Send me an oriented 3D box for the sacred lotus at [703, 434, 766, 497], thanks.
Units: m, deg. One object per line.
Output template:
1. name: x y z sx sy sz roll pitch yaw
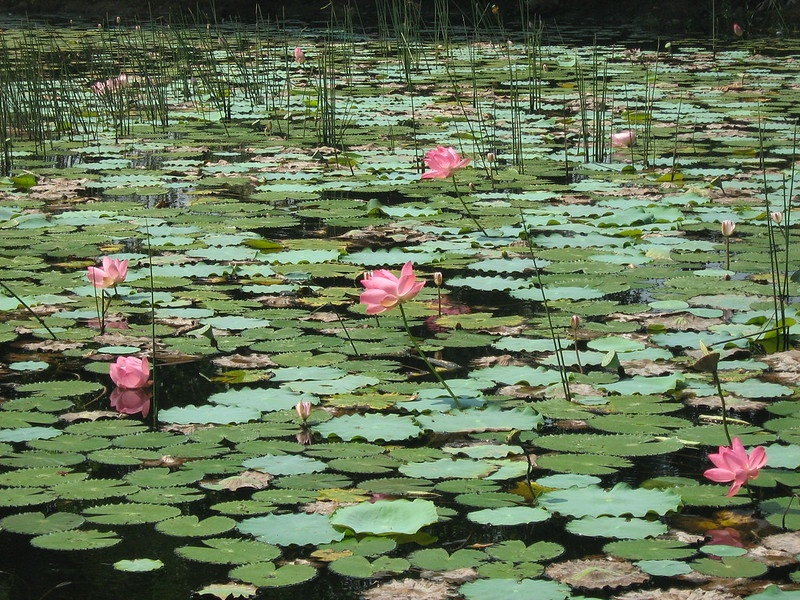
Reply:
1. sacred lotus: 0.900 0.455 2.877 0.158 0.182 0.107 -7 12 -7

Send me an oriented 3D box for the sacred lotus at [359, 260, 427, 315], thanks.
1. sacred lotus: -0.030 -0.039 3.259 0.192 0.161 0.078 0 15 26

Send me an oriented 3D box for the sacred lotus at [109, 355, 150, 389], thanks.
1. sacred lotus: -0.873 0.232 3.423 0.142 0.062 0.136 -4 11 -3

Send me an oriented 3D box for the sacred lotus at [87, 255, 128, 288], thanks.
1. sacred lotus: -1.100 -0.091 3.945 0.174 0.060 0.164 11 -34 -31

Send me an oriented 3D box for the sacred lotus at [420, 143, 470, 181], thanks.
1. sacred lotus: 0.194 -0.624 4.785 0.203 0.141 0.260 -4 9 1
